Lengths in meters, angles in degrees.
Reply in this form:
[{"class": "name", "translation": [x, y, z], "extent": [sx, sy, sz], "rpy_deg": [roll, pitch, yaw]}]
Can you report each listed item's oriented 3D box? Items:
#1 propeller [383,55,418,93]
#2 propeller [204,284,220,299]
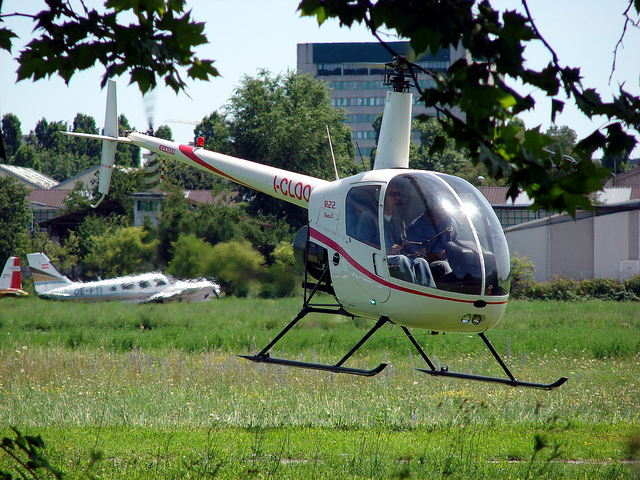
[{"class": "propeller", "translation": [2.573, -5.517, 46.349], "extent": [1.178, 1.377, 1.230], "rpy_deg": [4, 5, 32]}, {"class": "propeller", "translation": [-5.107, 2.437, 66.720], "extent": [0.661, 0.697, 0.517], "rpy_deg": [2, -2, 32]}]
